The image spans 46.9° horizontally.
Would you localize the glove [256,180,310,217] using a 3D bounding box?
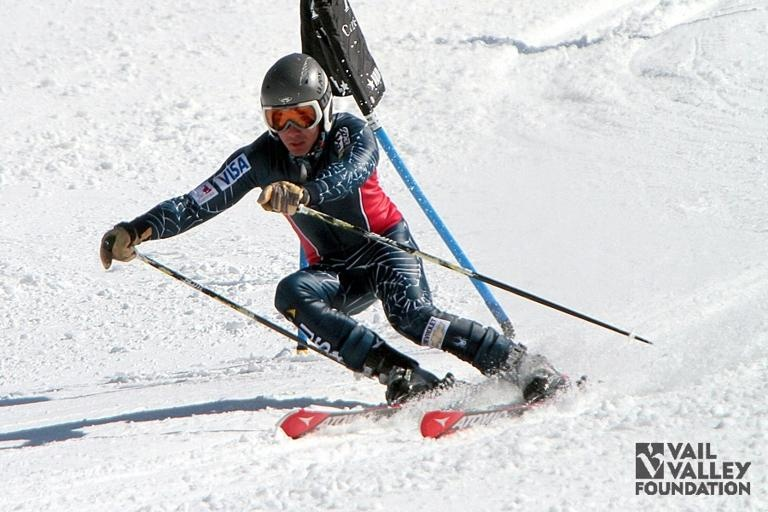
[{"bbox_3d":[-0.977,-0.554,8.574,0.473,0.343,0.152,12,-65,17],"label":"glove"}]
